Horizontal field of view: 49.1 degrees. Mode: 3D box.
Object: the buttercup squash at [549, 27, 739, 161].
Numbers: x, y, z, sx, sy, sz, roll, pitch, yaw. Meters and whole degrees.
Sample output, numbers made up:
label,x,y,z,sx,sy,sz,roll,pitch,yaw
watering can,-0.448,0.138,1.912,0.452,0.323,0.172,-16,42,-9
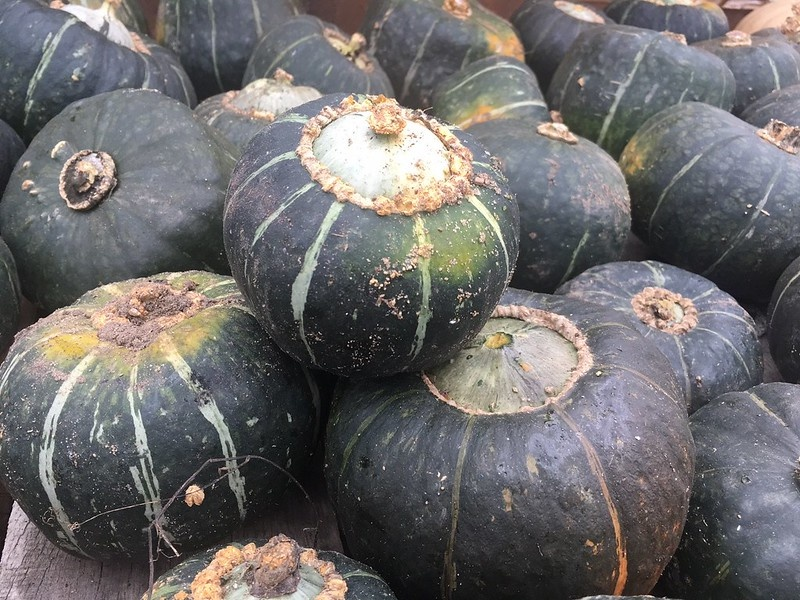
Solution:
label,x,y,z,sx,sy,sz,roll,pitch,yaw
buttercup squash,1.339,-1.294,5.042,0.774,0.758,0.795,21,27,-8
